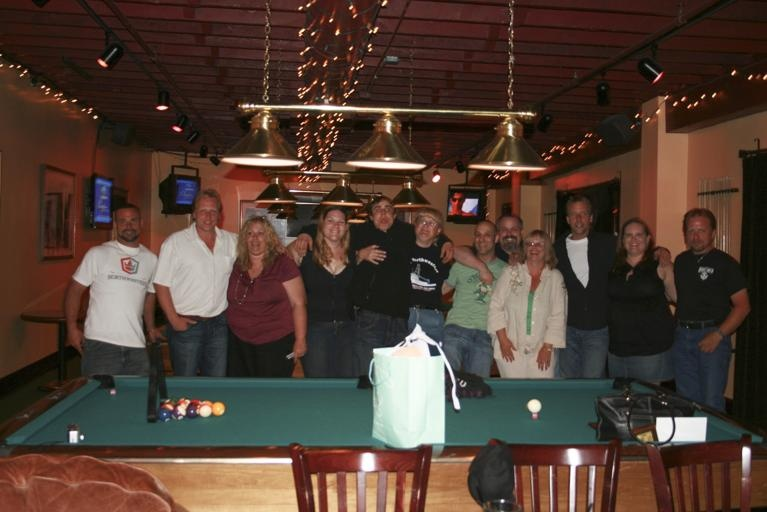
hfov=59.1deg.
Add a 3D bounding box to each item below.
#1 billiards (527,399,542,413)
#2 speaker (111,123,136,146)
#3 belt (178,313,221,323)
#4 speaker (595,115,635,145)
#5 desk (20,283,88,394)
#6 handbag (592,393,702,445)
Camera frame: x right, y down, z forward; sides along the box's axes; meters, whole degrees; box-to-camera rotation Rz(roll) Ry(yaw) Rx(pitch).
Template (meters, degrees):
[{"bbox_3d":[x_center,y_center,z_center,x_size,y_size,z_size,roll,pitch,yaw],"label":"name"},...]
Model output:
[{"bbox_3d":[0.981,0.972,4.390,0.086,0.096,0.086,-1,-8,3],"label":"billiards"},{"bbox_3d":[-3.812,-1.792,9.847,0.245,0.347,0.298,2,-5,-15],"label":"speaker"},{"bbox_3d":[-1.472,0.505,5.526,0.335,0.069,0.062,2,-5,-19],"label":"belt"},{"bbox_3d":[2.636,-1.411,7.637,0.364,0.362,0.369,-1,14,-43],"label":"speaker"},{"bbox_3d":[-3.534,0.873,7.167,0.734,1.187,0.989,0,7,-18],"label":"desk"},{"bbox_3d":[1.540,0.933,3.989,0.449,0.319,0.134,-1,-5,6],"label":"handbag"}]
